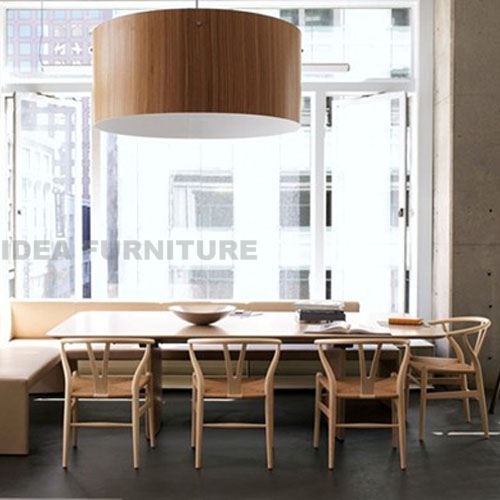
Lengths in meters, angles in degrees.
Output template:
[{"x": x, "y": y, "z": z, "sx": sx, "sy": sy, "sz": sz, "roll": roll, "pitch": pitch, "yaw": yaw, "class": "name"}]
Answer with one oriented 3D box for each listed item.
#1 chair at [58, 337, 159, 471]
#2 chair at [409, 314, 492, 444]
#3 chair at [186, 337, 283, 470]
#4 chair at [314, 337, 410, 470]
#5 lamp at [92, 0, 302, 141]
[{"x": -1.007, "y": 1.036, "z": 5.203, "sx": 0.605, "sy": 1.015, "sz": 0.663, "roll": -2, "pitch": 7, "yaw": -24, "class": "chair"}, {"x": 1.570, "y": 0.978, "z": 5.765, "sx": 0.470, "sy": 0.976, "sz": 0.719, "roll": 2, "pitch": 1, "yaw": 4, "class": "chair"}, {"x": -0.101, "y": 1.007, "z": 5.161, "sx": 0.648, "sy": 1.049, "sz": 0.733, "roll": 7, "pitch": 13, "yaw": 26, "class": "chair"}, {"x": 0.815, "y": 1.037, "z": 5.187, "sx": 0.554, "sy": 1.009, "sz": 0.671, "roll": -2, "pitch": 7, "yaw": -6, "class": "chair"}, {"x": -0.264, "y": -1.095, "z": 4.281, "sx": 0.832, "sy": 0.456, "sz": 0.865, "roll": -1, "pitch": 4, "yaw": -35, "class": "lamp"}]
